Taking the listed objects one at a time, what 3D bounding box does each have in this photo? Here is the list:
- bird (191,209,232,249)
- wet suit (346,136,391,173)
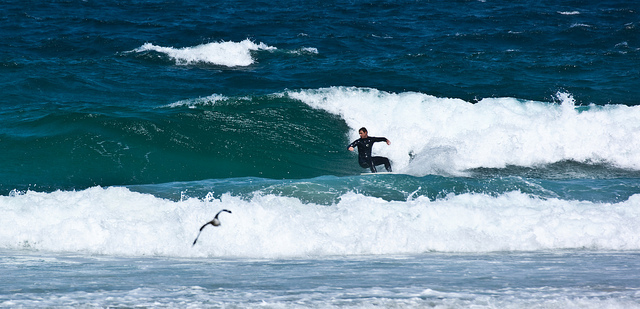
[{"bbox_3d":[-4.740,3.180,41.420,1.731,1.589,0.631,0,8,-10],"label":"bird"},{"bbox_3d":[2.440,-0.056,46.171,1.912,1.655,0.906,1,8,1],"label":"wet suit"}]
